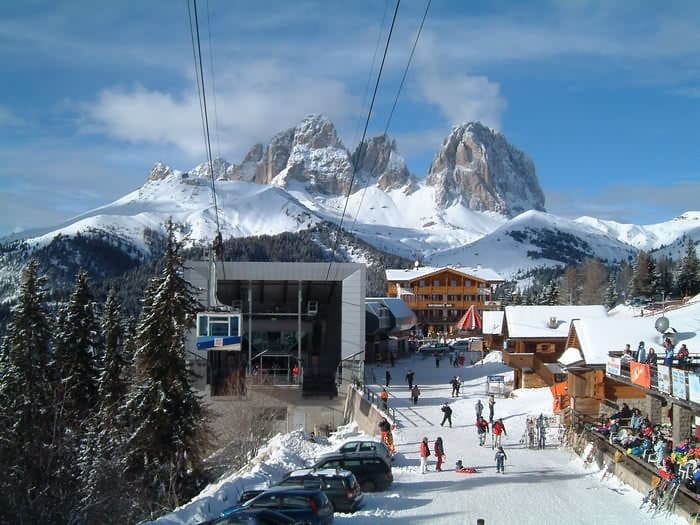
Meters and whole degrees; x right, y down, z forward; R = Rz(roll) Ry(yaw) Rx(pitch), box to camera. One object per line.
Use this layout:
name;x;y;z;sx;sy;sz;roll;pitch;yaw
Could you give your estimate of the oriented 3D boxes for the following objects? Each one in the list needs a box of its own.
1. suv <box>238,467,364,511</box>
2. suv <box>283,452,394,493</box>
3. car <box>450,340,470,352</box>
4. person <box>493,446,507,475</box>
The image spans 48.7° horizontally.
suv;-2.497;13.216;43.106;5.586;2.308;2.773;0;-8;7
suv;0.196;12.829;46.681;4.413;1.809;2.190;2;-8;4
car;14.580;11.124;101.735;1.142;1.021;2.033;2;-1;36
person;9.505;12.449;49.000;0.613;1.680;2.191;-1;-4;12
